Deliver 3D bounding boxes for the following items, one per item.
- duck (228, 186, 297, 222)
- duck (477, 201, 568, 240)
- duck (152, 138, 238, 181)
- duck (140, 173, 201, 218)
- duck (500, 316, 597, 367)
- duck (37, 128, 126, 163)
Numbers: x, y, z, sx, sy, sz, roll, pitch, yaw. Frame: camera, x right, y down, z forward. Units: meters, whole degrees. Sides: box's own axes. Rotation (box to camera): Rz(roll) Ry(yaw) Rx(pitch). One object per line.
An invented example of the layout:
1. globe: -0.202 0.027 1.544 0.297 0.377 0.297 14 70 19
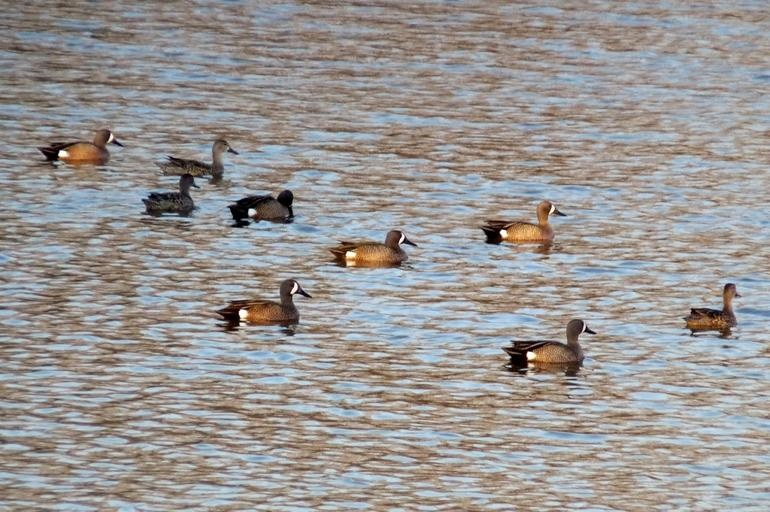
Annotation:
1. duck: -3.903 -1.535 33.383 2.407 0.908 0.798 3 102 -19
2. duck: 4.083 -0.969 33.174 3.200 1.088 1.143 0 101 -11
3. duck: -6.253 -3.111 36.444 2.487 1.318 1.310 -26 78 -13
4. duck: -6.686 -1.799 33.394 1.575 1.153 1.239 -1 74 -6
5. duck: 4.494 2.230 25.695 3.154 0.813 1.086 1 97 -5
6. duck: -10.425 -3.682 36.629 3.606 1.070 1.058 1 103 -17
